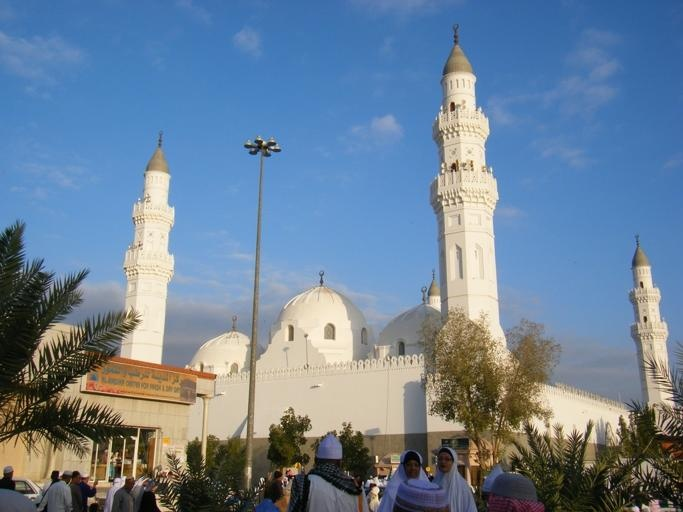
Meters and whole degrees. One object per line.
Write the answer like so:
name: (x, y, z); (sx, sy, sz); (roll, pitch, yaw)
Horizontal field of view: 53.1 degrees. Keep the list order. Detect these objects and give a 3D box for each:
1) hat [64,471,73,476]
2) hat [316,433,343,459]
hat: (-4.218, 3.359, 10.536); (0.092, 0.053, 0.095); (0, -5, 32)
hat: (-0.123, 2.027, 7.250); (0.211, 0.228, 0.306); (4, -14, -1)
